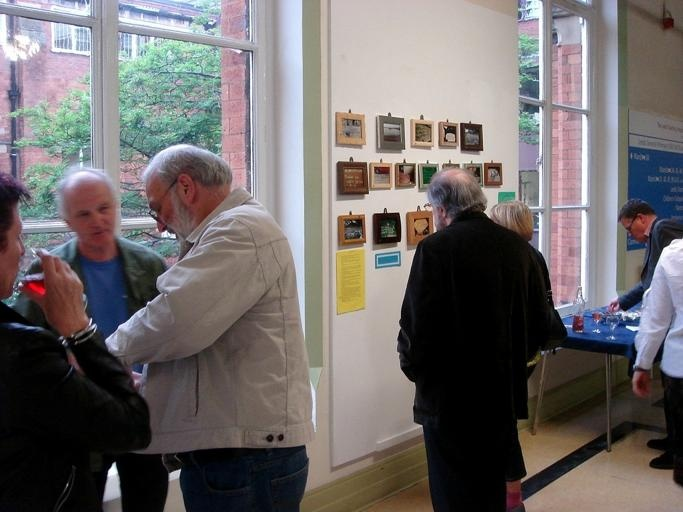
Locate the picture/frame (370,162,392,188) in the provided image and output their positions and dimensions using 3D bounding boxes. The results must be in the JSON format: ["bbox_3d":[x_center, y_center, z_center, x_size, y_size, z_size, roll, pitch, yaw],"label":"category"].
[{"bbox_3d":[0.222,-0.474,3.353,0.151,0.133,0.019,-4,6,-42],"label":"picture/frame"}]

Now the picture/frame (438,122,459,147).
[{"bbox_3d":[0.680,-0.788,3.713,0.027,0.146,0.167,1,4,42],"label":"picture/frame"}]

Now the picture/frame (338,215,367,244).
[{"bbox_3d":[0.061,-0.146,3.238,0.047,0.176,0.207,4,7,40],"label":"picture/frame"}]

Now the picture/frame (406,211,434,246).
[{"bbox_3d":[0.450,-0.165,3.387,0.224,0.229,0.030,-1,1,-44],"label":"picture/frame"}]

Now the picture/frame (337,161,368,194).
[{"bbox_3d":[0.053,-0.438,3.197,0.019,0.160,0.185,1,3,44],"label":"picture/frame"}]

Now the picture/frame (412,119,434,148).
[{"bbox_3d":[0.494,-0.763,3.560,0.184,0.160,0.024,-2,3,-41],"label":"picture/frame"}]

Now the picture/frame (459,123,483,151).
[{"bbox_3d":[0.868,-0.802,3.855,0.195,0.170,0.034,-5,7,-36],"label":"picture/frame"}]

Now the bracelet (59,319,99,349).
[{"bbox_3d":[-0.631,0.189,1.401,0.066,0.027,0.065,-11,11,29],"label":"bracelet"}]

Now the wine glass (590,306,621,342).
[{"bbox_3d":[1.921,0.500,4.220,0.189,0.318,0.215,-2,-2,11],"label":"wine glass"}]

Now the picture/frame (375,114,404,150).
[{"bbox_3d":[0.273,-0.733,3.378,0.218,0.193,0.021,-3,2,-44],"label":"picture/frame"}]

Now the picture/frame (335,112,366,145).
[{"bbox_3d":[0.052,-0.706,3.192,0.187,0.164,0.012,-4,5,-34],"label":"picture/frame"}]

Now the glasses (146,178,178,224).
[{"bbox_3d":[-0.592,-0.190,1.914,0.037,0.128,0.121,14,2,7],"label":"glasses"}]

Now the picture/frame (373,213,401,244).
[{"bbox_3d":[0.257,-0.169,3.382,0.170,0.160,0.029,-6,4,-45],"label":"picture/frame"}]

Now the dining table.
[{"bbox_3d":[1.836,0.610,4.189,0.824,0.657,1.324,0,0,35],"label":"dining table"}]
